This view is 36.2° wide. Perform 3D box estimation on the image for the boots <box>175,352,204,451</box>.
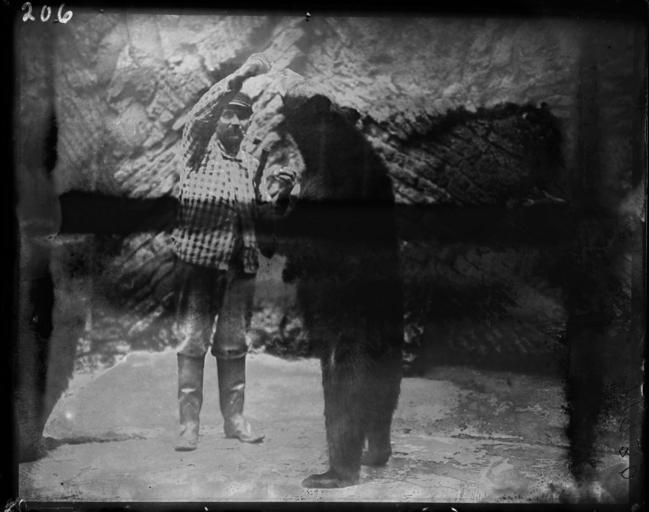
[{"bbox_3d":[-0.755,0.800,5.452,0.139,0.502,0.072,4,3,-10],"label":"boots"}]
